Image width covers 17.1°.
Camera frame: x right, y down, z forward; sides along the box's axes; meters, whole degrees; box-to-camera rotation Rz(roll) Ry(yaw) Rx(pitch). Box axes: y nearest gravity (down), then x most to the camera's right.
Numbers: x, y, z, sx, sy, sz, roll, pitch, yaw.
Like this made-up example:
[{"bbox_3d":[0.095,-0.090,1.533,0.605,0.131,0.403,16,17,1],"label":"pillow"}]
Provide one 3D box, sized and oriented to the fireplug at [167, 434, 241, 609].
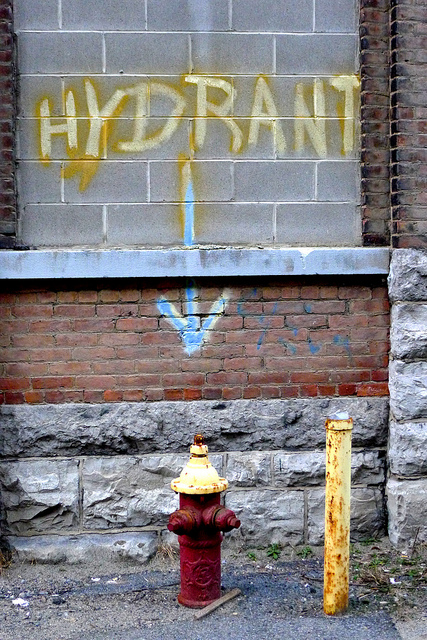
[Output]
[{"bbox_3d":[-0.046,1.083,7.525,0.364,0.927,0.285,-1,5,-2],"label":"fireplug"}]
